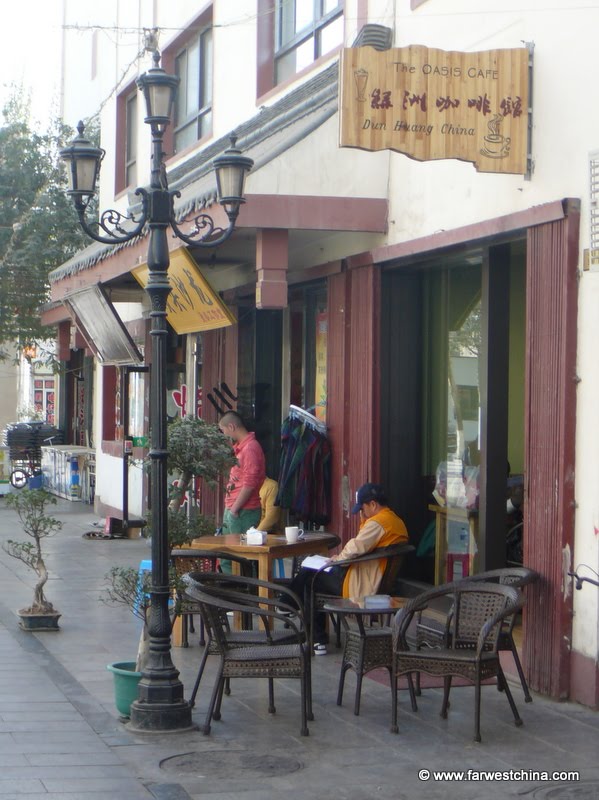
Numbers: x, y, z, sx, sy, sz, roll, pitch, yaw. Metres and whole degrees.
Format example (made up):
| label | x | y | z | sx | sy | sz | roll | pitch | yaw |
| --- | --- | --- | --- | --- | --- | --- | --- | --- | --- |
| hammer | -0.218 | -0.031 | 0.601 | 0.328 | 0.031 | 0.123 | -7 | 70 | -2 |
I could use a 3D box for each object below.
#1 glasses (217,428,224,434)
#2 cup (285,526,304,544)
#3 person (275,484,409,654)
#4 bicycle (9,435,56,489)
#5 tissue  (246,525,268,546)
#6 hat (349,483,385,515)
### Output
| label | x | y | z | sx | sy | sz | roll | pitch | yaw |
| --- | --- | --- | --- | --- | --- | --- | --- | --- | --- |
| glasses | -0.681 | 0.268 | 13.072 | 0.013 | 0.054 | 0.013 | -25 | 4 | 14 |
| cup | -0.040 | 0.966 | 10.792 | 0.128 | 0.113 | 0.084 | 5 | -11 | -42 |
| person | 0.335 | 1.216 | 10.619 | 0.720 | 1.341 | 0.452 | 6 | 6 | 11 |
| bicycle | -4.664 | 1.055 | 26.473 | 0.765 | 0.900 | 0.780 | 1 | -2 | -14 |
| tissue  | -0.314 | 0.970 | 10.706 | 0.094 | 0.115 | 0.106 | -1 | -3 | 7 |
| hat | 0.465 | 0.685 | 10.607 | 0.216 | 0.167 | 0.167 | -11 | 2 | 18 |
